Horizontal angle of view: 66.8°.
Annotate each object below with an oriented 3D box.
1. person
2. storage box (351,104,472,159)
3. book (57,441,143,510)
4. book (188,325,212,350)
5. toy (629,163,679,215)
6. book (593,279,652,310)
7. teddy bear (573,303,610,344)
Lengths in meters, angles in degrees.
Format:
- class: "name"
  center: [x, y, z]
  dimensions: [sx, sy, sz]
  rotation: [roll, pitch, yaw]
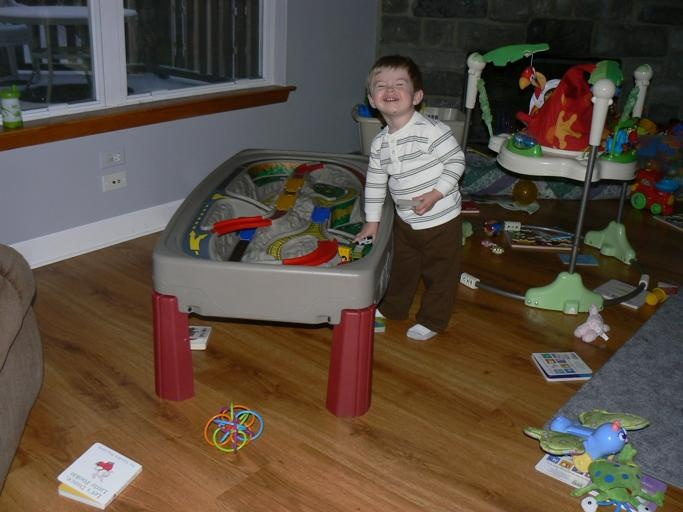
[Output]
- class: "person"
  center: [0.279, -0.185, 1.942]
  dimensions: [0.422, 1.027, 0.335]
  rotation: [4, 28, 1]
- class: "storage box"
  center: [0.421, -0.833, 3.237]
  dimensions: [0.645, 0.214, 0.435]
  rotation: [3, 23, 9]
- class: "book"
  center: [-0.667, 0.601, 1.413]
  dimensions: [0.174, 0.040, 0.158]
  rotation: [16, 29, 23]
- class: "book"
  center: [-0.538, 0.308, 1.965]
  dimensions: [0.092, 0.031, 0.095]
  rotation: [2, 35, 0]
- class: "toy"
  center: [1.939, -0.424, 3.357]
  dimensions: [0.355, 0.253, 0.239]
  rotation: [22, 43, 29]
- class: "book"
  center: [1.301, 0.173, 2.392]
  dimensions: [0.159, 0.036, 0.149]
  rotation: [-29, 39, -34]
- class: "teddy bear"
  center: [1.017, 0.273, 2.124]
  dimensions: [0.129, 0.152, 0.059]
  rotation: [2, -10, -4]
